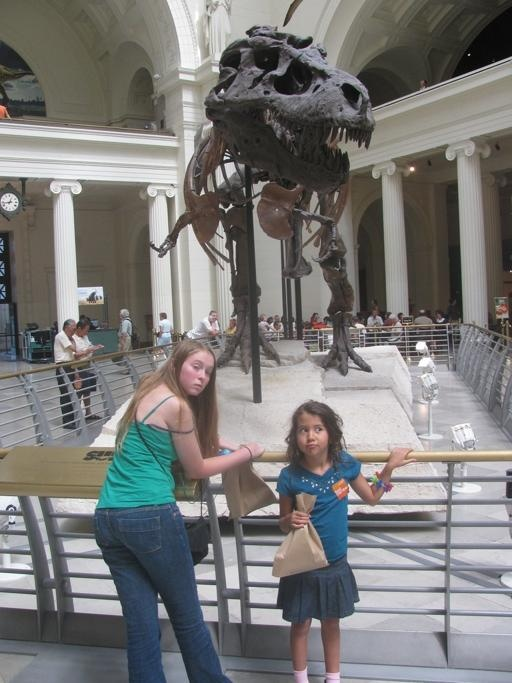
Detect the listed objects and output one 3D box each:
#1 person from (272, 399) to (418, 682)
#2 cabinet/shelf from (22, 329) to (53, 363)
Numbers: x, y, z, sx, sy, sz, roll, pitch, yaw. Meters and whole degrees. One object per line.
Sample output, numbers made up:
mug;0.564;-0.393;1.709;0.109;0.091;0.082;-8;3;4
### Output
person;0.295;0.700;2.028;0.460;0.982;0.287;-5;5;-17
cabinet/shelf;-8.379;0.143;21.682;1.090;1.163;2.110;-6;6;-26
